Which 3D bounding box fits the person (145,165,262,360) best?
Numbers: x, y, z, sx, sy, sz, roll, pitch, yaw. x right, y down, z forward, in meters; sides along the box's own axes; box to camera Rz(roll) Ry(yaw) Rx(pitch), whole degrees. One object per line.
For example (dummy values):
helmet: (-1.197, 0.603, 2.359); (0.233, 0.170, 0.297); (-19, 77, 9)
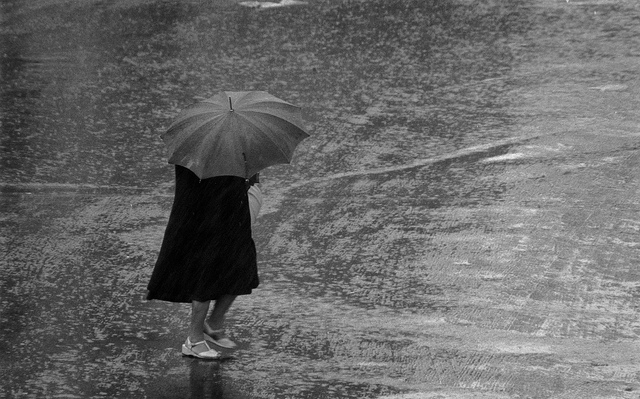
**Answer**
person: (-1.143, 0.592, 8.262); (0.980, 1.972, 0.966); (5, 24, 17)
